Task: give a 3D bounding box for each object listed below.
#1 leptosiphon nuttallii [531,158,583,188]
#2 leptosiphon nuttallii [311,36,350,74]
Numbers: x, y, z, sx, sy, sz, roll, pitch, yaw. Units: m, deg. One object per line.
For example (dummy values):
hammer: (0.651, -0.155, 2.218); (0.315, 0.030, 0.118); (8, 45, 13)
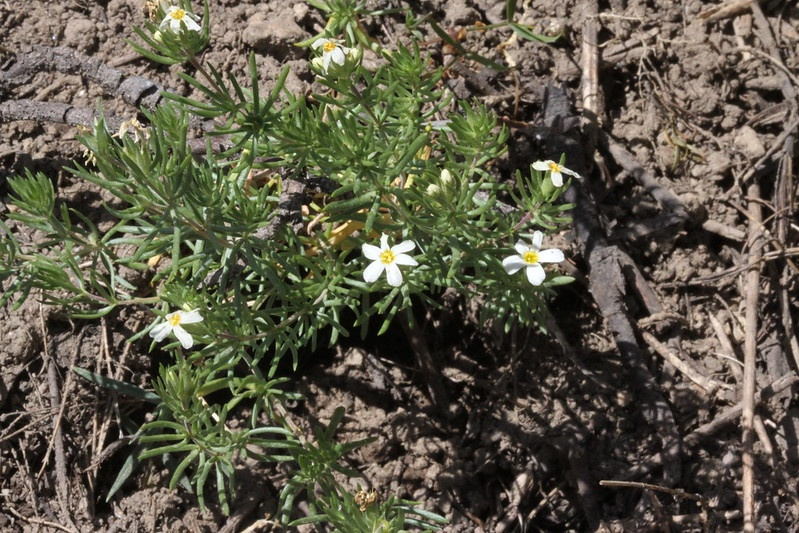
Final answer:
leptosiphon nuttallii: (0.898, -0.525, 4.908); (0.194, 0.156, 0.334); (-1, -4, 39)
leptosiphon nuttallii: (-0.382, -1.192, 4.718); (0.171, 0.063, 0.161); (2, 31, 24)
